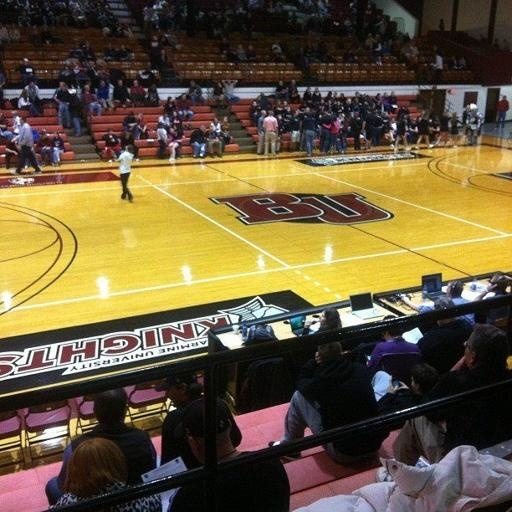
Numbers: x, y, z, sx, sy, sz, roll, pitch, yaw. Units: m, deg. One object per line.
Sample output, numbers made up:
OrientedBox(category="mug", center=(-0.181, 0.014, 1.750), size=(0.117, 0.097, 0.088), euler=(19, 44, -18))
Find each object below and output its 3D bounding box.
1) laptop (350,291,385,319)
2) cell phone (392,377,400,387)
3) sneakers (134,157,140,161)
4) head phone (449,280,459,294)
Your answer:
OrientedBox(category="laptop", center=(1.302, 0.600, 5.264), size=(0.427, 0.218, 0.295), euler=(-12, 30, -18))
OrientedBox(category="cell phone", center=(1.042, 0.947, 3.371), size=(0.063, 0.020, 0.080), euler=(-2, 20, -7))
OrientedBox(category="sneakers", center=(-4.639, -3.791, 17.690), size=(0.200, 0.133, 0.421), euler=(-5, 16, -11))
OrientedBox(category="head phone", center=(2.399, 0.383, 5.502), size=(0.101, 0.165, 0.097), euler=(11, 56, 0))
